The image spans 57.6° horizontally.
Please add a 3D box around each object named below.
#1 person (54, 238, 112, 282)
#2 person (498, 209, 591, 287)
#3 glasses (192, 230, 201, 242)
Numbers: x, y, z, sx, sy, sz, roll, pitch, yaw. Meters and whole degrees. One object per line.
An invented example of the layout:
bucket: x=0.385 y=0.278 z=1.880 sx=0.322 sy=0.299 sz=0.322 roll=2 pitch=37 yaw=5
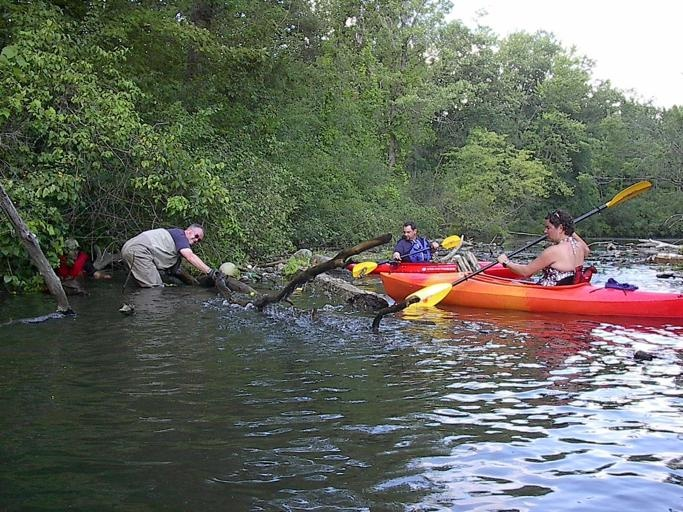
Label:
person: x=-5.968 y=0.392 z=14.082 sx=1.148 sy=1.377 sz=0.767 roll=6 pitch=8 yaw=-19
person: x=3.793 y=-0.135 z=11.148 sx=1.303 sy=1.400 sz=0.593 roll=2 pitch=11 yaw=9
glasses: x=-3.187 y=-0.411 z=13.659 sx=0.209 sy=0.168 sz=0.068 roll=17 pitch=-1 yaw=-33
